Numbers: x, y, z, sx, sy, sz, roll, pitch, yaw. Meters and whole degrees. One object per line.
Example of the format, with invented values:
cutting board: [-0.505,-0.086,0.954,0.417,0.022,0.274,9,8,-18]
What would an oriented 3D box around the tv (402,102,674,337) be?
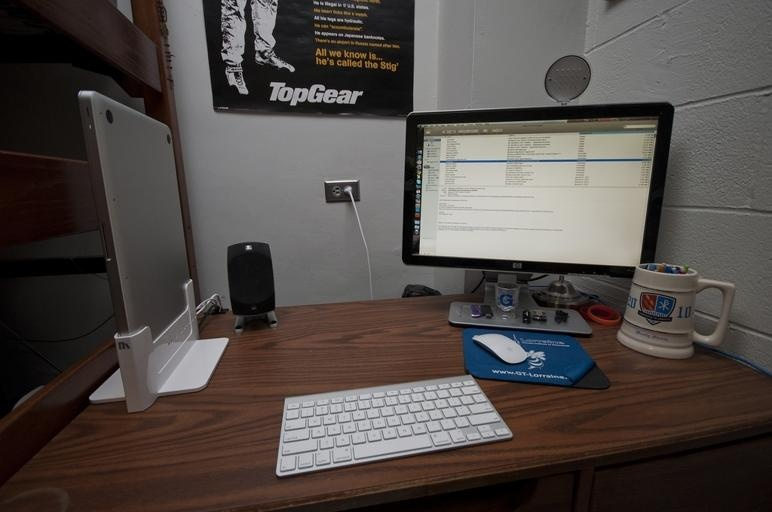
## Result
tv: [0.453,-0.112,1.387,0.709,0.568,0.274,2,13,12]

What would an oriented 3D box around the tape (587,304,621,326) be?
tape: [0.646,0.170,1.433,0.063,0.017,0.069,17,25,41]
